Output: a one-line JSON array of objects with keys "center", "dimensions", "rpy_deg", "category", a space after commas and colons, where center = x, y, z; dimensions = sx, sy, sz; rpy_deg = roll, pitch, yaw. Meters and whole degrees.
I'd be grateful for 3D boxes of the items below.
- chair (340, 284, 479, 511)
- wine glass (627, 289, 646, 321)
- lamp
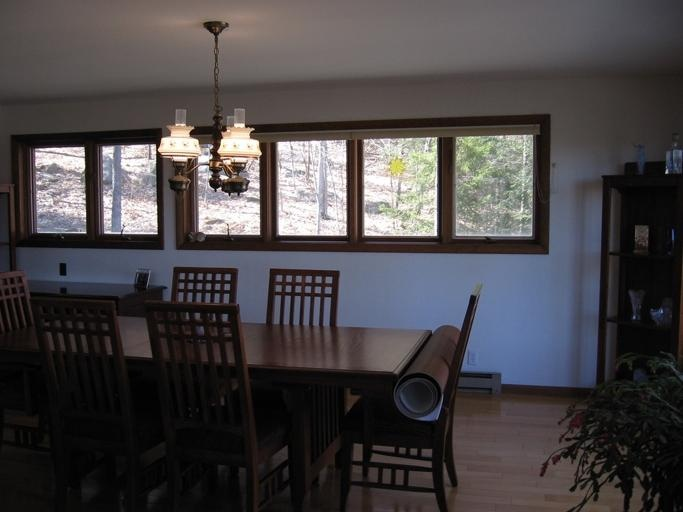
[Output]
[{"center": [0.362, 0.802, 3.118], "dimensions": [0.735, 1.253, 0.745], "rpy_deg": [2, 10, 12], "category": "chair"}, {"center": [2.237, 0.361, 4.314], "dimensions": [0.115, 0.232, 0.250], "rpy_deg": [5, 11, 28], "category": "wine glass"}, {"center": [-0.701, -0.912, 3.468], "dimensions": [0.722, 0.973, 0.595], "rpy_deg": [9, 15, 34], "category": "lamp"}]
